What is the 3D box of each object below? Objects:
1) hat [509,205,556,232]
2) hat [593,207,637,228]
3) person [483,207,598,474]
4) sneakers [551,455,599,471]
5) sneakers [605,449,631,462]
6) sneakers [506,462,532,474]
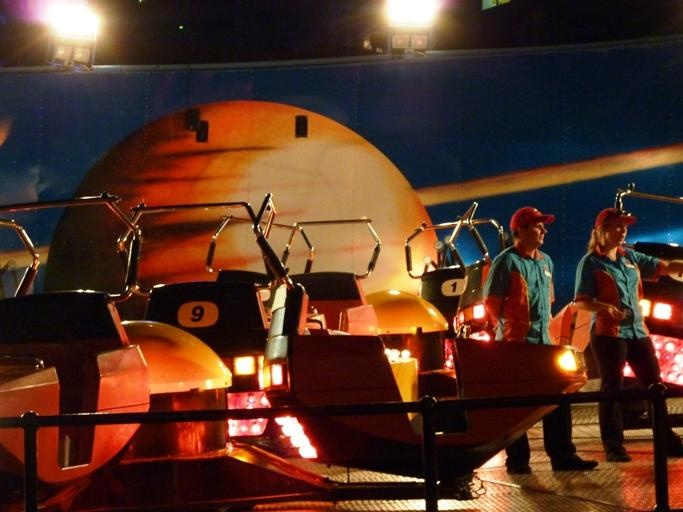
[{"bbox_3d":[1.768,-0.363,7.103,0.449,0.226,0.294,-8,4,12],"label":"hat"},{"bbox_3d":[2.671,-0.346,7.416,0.344,0.186,0.252,-16,4,13],"label":"hat"},{"bbox_3d":[1.744,0.737,6.914,0.756,2.395,1.018,-8,-17,20],"label":"person"},{"bbox_3d":[2.093,1.879,6.916,0.455,0.177,0.150,-3,-15,3],"label":"sneakers"},{"bbox_3d":[2.578,1.850,7.045,0.192,0.075,0.106,-5,10,11],"label":"sneakers"},{"bbox_3d":[1.613,1.927,6.885,0.216,0.105,0.073,-4,-16,5],"label":"sneakers"}]
